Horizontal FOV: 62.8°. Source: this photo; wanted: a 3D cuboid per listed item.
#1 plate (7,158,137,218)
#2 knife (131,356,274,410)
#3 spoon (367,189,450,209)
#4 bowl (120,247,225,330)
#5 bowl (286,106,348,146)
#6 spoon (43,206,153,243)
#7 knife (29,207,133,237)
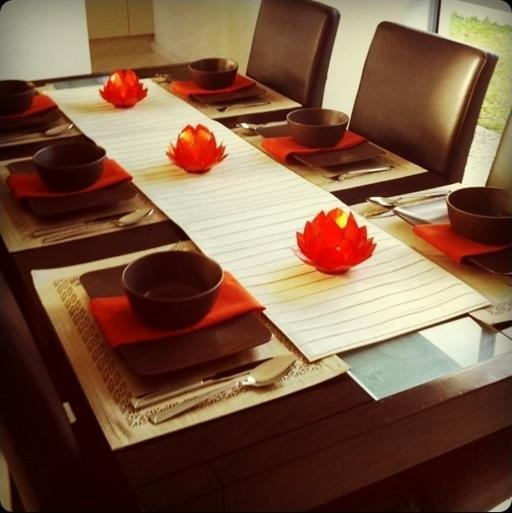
[{"bbox_3d":[-0.345,-0.117,0.796,0.171,0.019,0.176,-15,36,-27],"label":"plate"},{"bbox_3d":[-0.058,0.127,0.414,0.144,0.006,0.018,-12,26,-26],"label":"knife"},{"bbox_3d":[0.299,-0.112,0.824,0.181,0.036,0.024,-8,65,-3],"label":"spoon"},{"bbox_3d":[-0.097,0.037,0.492,0.103,0.045,0.102,1,28,-1],"label":"bowl"},{"bbox_3d":[0.160,-0.326,1.048,0.108,0.045,0.111,0,-8,0],"label":"bowl"},{"bbox_3d":[-0.280,-0.054,0.730,0.154,0.020,0.025,-17,39,-23],"label":"spoon"},{"bbox_3d":[-0.306,-0.069,0.753,0.102,0.023,0.069,-12,22,-29],"label":"knife"}]
